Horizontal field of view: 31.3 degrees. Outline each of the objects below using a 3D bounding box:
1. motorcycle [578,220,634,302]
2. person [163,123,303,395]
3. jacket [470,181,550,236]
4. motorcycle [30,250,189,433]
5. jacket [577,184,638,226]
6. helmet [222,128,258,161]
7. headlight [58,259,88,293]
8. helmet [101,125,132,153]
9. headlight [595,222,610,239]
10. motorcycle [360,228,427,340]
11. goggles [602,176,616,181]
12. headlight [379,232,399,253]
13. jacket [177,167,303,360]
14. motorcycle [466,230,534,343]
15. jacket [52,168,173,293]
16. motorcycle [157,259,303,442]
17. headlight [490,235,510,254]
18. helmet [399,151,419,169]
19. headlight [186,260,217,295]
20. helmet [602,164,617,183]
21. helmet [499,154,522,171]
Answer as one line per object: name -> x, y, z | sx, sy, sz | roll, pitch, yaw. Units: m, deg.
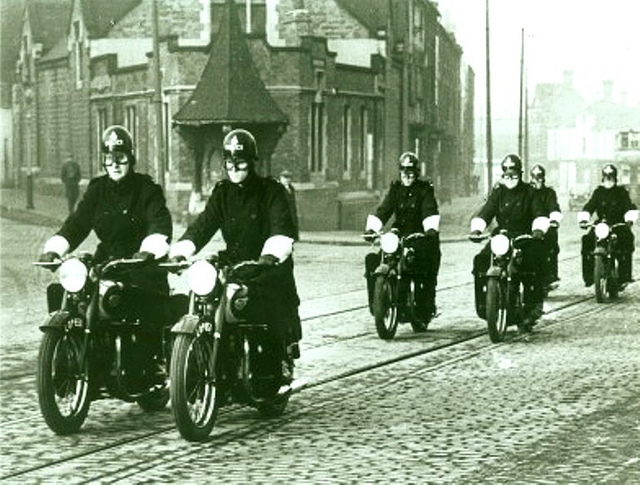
motorcycle -> 4.452, 0.297, 17.875 | 0.406, 1.218, 1.250 | -1, 3, 25
person -> -0.654, 0.088, 9.961 | 1.027, 1.995, 1.061 | 3, 22, 20
jacket -> 2.530, -0.454, 14.961 | 1.146, 0.990, 0.660 | 0, -1, 23
motorcycle -> -1.773, 0.779, 10.184 | 1.245, 1.487, 2.732 | -1, -1, 15
jacket -> 4.612, -0.617, 18.431 | 0.879, 0.658, 0.870 | -1, 3, 13
helmet -> -0.671, -0.833, 9.812 | 0.228, 0.329, 0.319 | 5, 15, 19
headlight -> -2.030, 0.267, 9.430 | 0.224, 0.268, 0.147 | -3, 3, -16
helmet -> -1.795, -0.930, 10.108 | 0.212, 0.220, 0.241 | 1, 10, -12
headlight -> 4.424, -0.197, 18.019 | 0.214, 0.257, 0.279 | -1, 3, 12
motorcycle -> 0.947, 0.506, 14.408 | 0.471, 1.371, 0.988 | 0, 4, 41
goggles -> 4.695, -1.060, 18.573 | 0.174, 0.077, 0.083 | -2, 3, -1
headlight -> 0.867, -0.006, 14.419 | 0.237, 0.264, 0.294 | -2, 3, 3
jacket -> -0.542, 0.077, 9.783 | 0.852, 1.052, 1.749 | -5, -5, 16
motorcycle -> 2.232, 0.524, 14.202 | 0.553, 1.327, 1.305 | -1, 3, 25
jacket -> -1.849, -0.189, 10.193 | 1.035, 1.063, 0.636 | 3, -1, 7
motorcycle -> -0.741, 0.855, 9.532 | 0.484, 1.485, 1.370 | 0, 4, 36
headlight -> 2.224, 0.015, 14.204 | 0.217, 0.233, 0.197 | -2, 3, 8
helmet -> 1.144, -1.071, 14.784 | 0.170, 0.204, 0.227 | -1, -8, 6
headlight -> -0.948, 0.284, 9.191 | 0.237, 0.278, 0.178 | -3, 3, -8
helmet -> 4.732, -1.153, 18.702 | 0.217, 0.315, 0.295 | 3, 9, 15
helmet -> 2.497, -1.043, 14.911 | 0.241, 0.229, 0.187 | 7, -7, -13
